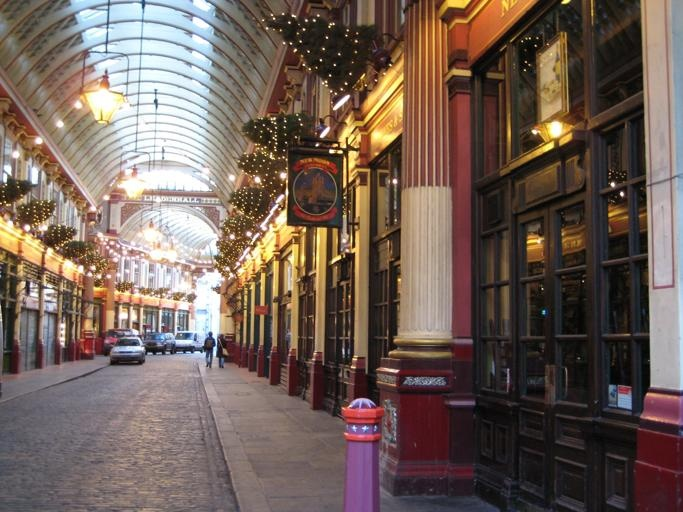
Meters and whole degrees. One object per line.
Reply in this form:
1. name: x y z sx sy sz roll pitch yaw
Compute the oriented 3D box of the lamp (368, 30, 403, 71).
1. lamp: 0.763 -3.544 11.020 0.477 1.017 0.406 7 -49 -3
